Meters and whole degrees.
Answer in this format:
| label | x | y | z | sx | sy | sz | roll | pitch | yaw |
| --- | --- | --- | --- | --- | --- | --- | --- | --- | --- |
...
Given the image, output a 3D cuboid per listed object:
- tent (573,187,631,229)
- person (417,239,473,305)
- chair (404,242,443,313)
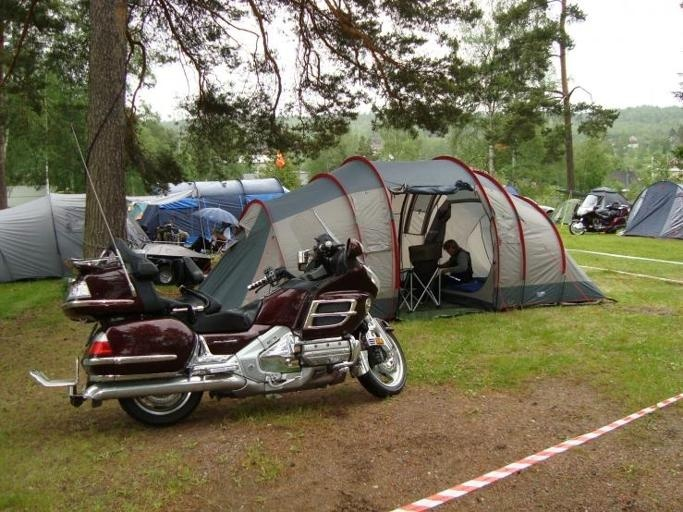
| label | x | y | z | sx | sy | sz | roll | pitch | yaw |
| --- | --- | --- | --- | --- | --- | --- | --- | --- | --- |
| tent | 11.803 | -2.022 | 24.531 | 3.486 | 1.783 | 1.640 | 1 | 0 | -29 |
| person | 2.116 | 0.323 | 10.696 | 0.963 | 1.235 | 0.664 | 5 | 4 | 3 |
| chair | 1.544 | 0.368 | 10.040 | 0.682 | 1.087 | 0.746 | -6 | -4 | 13 |
